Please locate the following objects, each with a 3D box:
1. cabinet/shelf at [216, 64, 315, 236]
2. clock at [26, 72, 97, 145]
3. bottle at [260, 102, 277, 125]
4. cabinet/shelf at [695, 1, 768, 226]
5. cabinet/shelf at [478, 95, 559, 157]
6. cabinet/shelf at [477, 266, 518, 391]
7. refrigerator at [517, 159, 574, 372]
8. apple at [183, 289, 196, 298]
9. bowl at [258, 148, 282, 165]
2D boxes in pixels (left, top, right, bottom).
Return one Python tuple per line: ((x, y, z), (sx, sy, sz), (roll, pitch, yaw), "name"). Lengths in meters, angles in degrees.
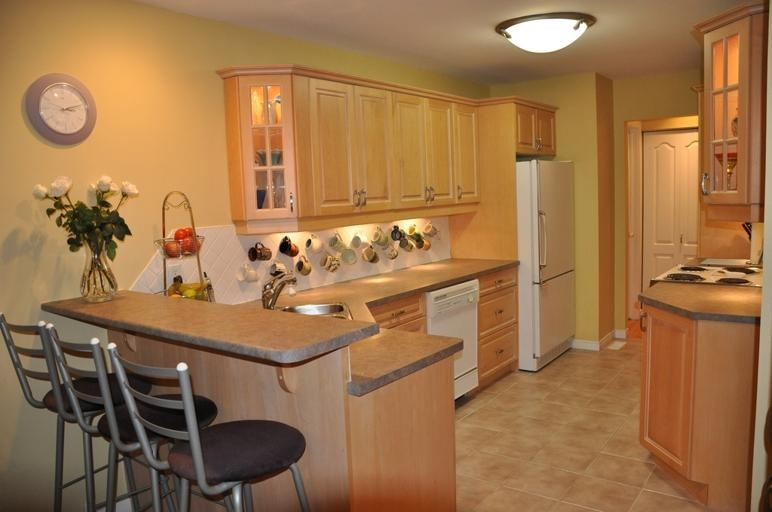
((-0.910, -0.776, 4.145), (0.571, 1.183, 0.264), (-2, 14, -4), "cabinet/shelf")
((-2.041, -0.920, 3.452), (0.477, 0.552, 0.093), (-5, -3, -43), "clock")
((-0.850, -1.062, 4.100), (0.120, 0.162, 0.038), (-6, 15, -20), "bottle")
((2.393, -0.980, 3.842), (0.199, 1.431, 0.653), (-3, 14, -8), "cabinet/shelf")
((1.495, -1.354, 6.055), (0.405, 0.615, 1.075), (1, 7, 40), "cabinet/shelf")
((1.123, 0.637, 5.512), (0.240, 0.958, 0.886), (8, 16, 31), "cabinet/shelf")
((1.688, 0.074, 5.940), (0.552, 2.183, 1.025), (7, 16, 30), "refrigerator")
((-1.341, 0.253, 3.767), (0.080, 0.064, 0.096), (-2, 13, -4), "apple")
((-0.861, -0.733, 4.131), (0.152, 0.082, 0.112), (-3, 1, -30), "bowl")
